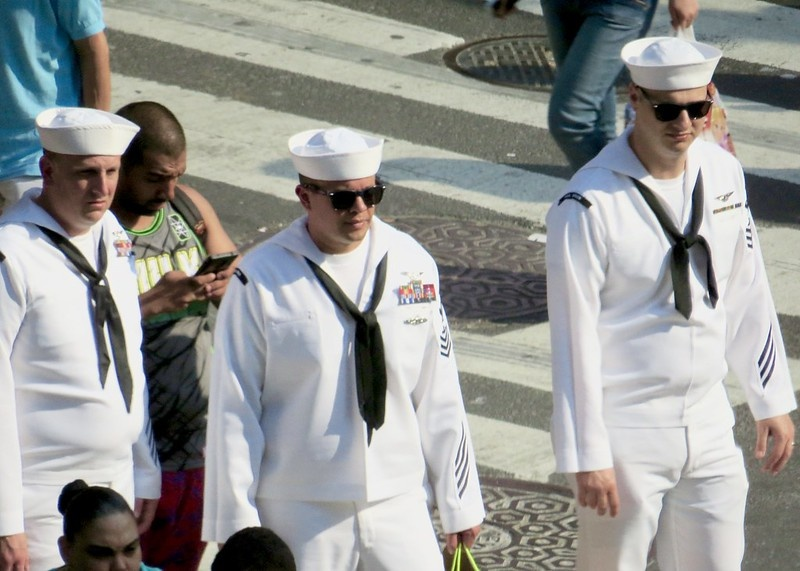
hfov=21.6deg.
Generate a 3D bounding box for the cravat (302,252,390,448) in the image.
[{"bbox_3d":[-0.277,0.322,10.782,0.398,0.919,0.327,2,13,-9],"label":"cravat"}]

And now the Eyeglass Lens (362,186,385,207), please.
[{"bbox_3d":[-0.143,-0.459,10.794,0.112,0.045,0.114,-21,25,-41],"label":"Eyeglass Lens"}]

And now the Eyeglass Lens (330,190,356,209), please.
[{"bbox_3d":[-0.295,-0.432,10.734,0.134,0.097,0.032,3,13,-3],"label":"Eyeglass Lens"}]

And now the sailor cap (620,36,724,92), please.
[{"bbox_3d":[1.446,-1.199,11.312,0.409,0.157,0.360,7,36,18],"label":"sailor cap"}]

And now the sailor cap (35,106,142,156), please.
[{"bbox_3d":[-1.649,-0.794,10.889,0.376,0.120,0.313,4,13,-12],"label":"sailor cap"}]
